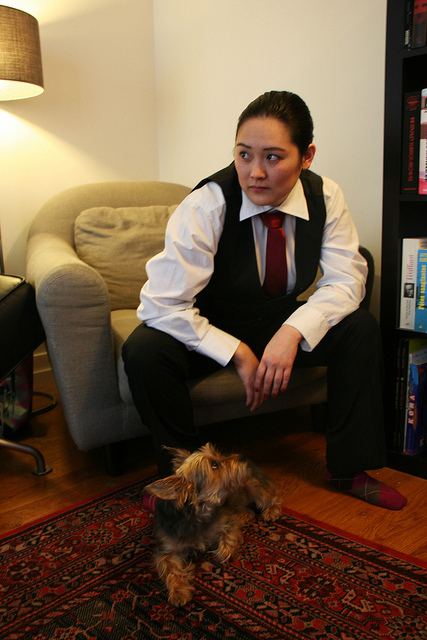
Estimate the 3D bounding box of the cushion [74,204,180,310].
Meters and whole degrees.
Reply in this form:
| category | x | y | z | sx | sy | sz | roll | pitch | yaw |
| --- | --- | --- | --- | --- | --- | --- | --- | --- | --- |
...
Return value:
| category | x | y | z | sx | sy | sz | roll | pitch | yaw |
| --- | --- | --- | --- | --- | --- | --- | --- | --- | --- |
| cushion | -0.309 | -0.202 | 1.659 | 0.385 | 0.356 | 0.112 | -7 | -4 | -29 |

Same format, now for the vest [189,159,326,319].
| category | x | y | z | sx | sy | sz | roll | pitch | yaw |
| --- | --- | --- | --- | --- | --- | --- | --- | --- | --- |
| vest | 0.121 | -0.193 | 1.212 | 0.326 | 0.379 | 0.148 | -3 | 14 | -5 |

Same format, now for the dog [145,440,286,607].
| category | x | y | z | sx | sy | sz | roll | pitch | yaw |
| --- | --- | --- | --- | --- | --- | --- | --- | --- | --- |
| dog | -0.011 | 0.365 | 0.978 | 0.231 | 0.228 | 0.394 | -21 | -5 | 17 |

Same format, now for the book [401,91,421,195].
| category | x | y | z | sx | sy | sz | roll | pitch | yaw |
| --- | --- | --- | --- | --- | --- | --- | --- | --- | --- |
| book | 0.489 | -0.439 | 1.219 | 0.050 | 0.237 | 0.022 | 7 | 17 | 34 |

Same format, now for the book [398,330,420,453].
| category | x | y | z | sx | sy | sz | roll | pitch | yaw |
| --- | --- | --- | --- | --- | --- | --- | --- | --- | --- |
| book | 0.526 | 0.179 | 1.321 | 0.026 | 0.335 | 0.299 | 5 | 11 | 29 |

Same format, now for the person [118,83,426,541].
| category | x | y | z | sx | sy | sz | roll | pitch | yaw |
| --- | --- | --- | --- | --- | --- | --- | --- | --- | --- |
| person | 0.087 | -0.028 | 1.293 | 0.663 | 0.990 | 0.801 | -5 | 14 | -11 |
